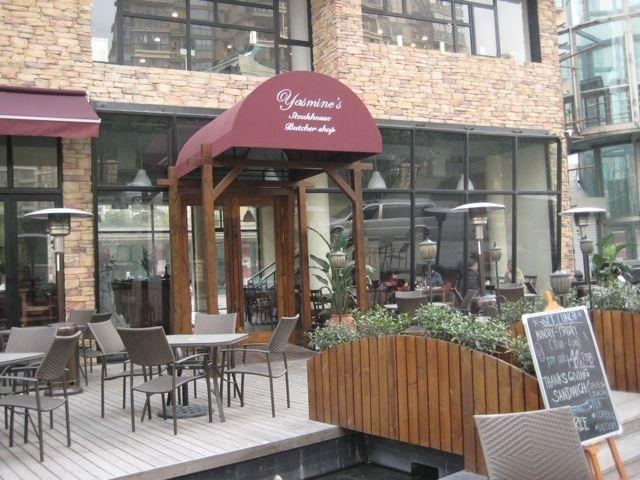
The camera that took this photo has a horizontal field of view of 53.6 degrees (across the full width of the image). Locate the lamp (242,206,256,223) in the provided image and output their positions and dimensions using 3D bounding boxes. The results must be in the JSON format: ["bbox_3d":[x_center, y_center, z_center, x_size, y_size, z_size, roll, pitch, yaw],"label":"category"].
[{"bbox_3d":[-1.414,-0.512,12.674,0.246,0.301,0.276,2,-2,-3],"label":"lamp"}]

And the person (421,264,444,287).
[{"bbox_3d":[2.431,0.774,13.926,0.353,0.762,0.257,-12,21,0],"label":"person"}]

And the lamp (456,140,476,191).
[{"bbox_3d":[3.342,-1.722,14.654,0.519,1.139,0.141,-2,-1,-35],"label":"lamp"}]

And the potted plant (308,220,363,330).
[{"bbox_3d":[0.256,0.651,12.541,0.934,1.652,1.904,-2,-1,-1],"label":"potted plant"}]

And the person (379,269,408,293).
[{"bbox_3d":[1.555,0.820,14.019,0.709,0.732,0.379,-1,4,-23],"label":"person"}]
